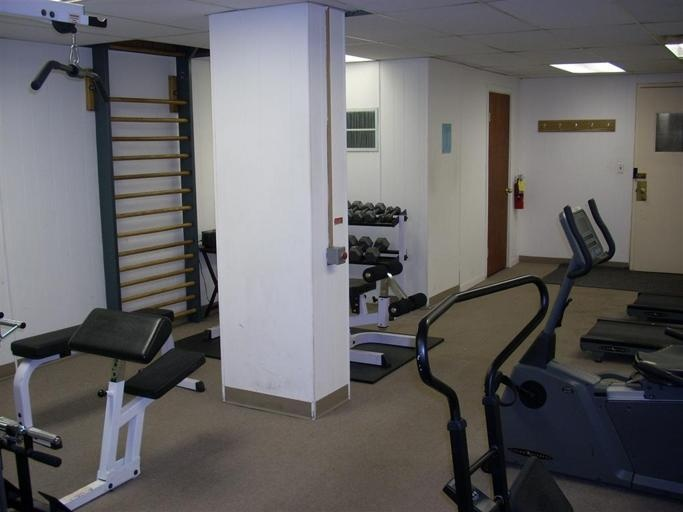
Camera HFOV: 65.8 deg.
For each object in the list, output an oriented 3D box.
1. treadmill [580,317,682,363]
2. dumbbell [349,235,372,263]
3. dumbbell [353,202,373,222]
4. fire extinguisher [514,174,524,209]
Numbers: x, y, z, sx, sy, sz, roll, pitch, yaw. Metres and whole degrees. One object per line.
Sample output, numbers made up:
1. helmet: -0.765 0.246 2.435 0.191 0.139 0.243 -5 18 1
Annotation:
1. treadmill: 2.845 0.828 5.240 0.870 0.256 0.687 5 19 26
2. dumbbell: 0.224 -0.088 6.223 0.264 0.256 0.400 -1 13 2
3. dumbbell: 0.248 -0.550 6.551 0.232 0.066 0.232 3 24 8
4. fire extinguisher: 3.128 -1.105 9.266 0.135 0.606 0.325 6 14 32
